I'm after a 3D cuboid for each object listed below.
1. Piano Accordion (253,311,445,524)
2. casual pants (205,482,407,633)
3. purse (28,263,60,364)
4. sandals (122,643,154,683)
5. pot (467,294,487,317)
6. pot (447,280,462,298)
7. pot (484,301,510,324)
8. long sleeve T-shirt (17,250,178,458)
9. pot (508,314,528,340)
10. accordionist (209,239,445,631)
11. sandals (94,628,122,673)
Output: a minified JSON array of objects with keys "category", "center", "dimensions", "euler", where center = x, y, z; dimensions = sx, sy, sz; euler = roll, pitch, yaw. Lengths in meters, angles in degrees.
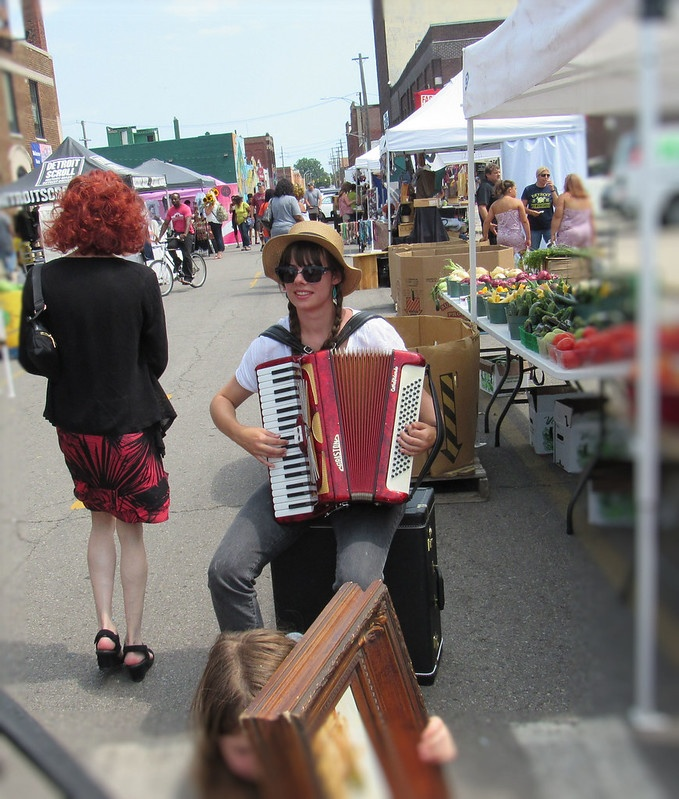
[{"category":"Piano Accordion","center":[0.021,0.130,2.403],"dimensions":[0.612,0.586,0.196],"euler":[-4,-7,9]},{"category":"casual pants","center":[-0.091,0.371,2.529],"dimensions":[0.490,0.599,0.728],"euler":[10,9,7]},{"category":"purse","center":[-1.047,-0.294,2.364],"dimensions":[0.086,0.413,0.287],"euler":[-1,-8,-15]},{"category":"sandals","center":[-0.847,1.091,2.814],"dimensions":[0.069,0.082,0.199],"euler":[0,6,-4]},{"category":"pot","center":[1.116,-0.730,5.398],"dimensions":[0.125,0.116,0.147],"euler":[0,5,1]},{"category":"pot","center":[1.105,-1.045,6.470],"dimensions":[0.125,0.123,0.152],"euler":[-1,8,0]},{"category":"pot","center":[1.169,-0.634,5.010],"dimensions":[0.125,0.124,0.159],"euler":[0,6,1]},{"category":"long sleeve T-shirt","center":[-0.904,-0.187,2.606],"dimensions":[0.441,0.664,0.281],"euler":[0,-7,-18]},{"category":"pot","center":[1.147,-0.463,4.437],"dimensions":[0.138,0.183,0.128],"euler":[0,5,0]},{"category":"accordionist","center":[-0.126,0.280,2.667],"dimensions":[0.821,1.891,0.788],"euler":[3,5,18]},{"category":"sandals","center":[-0.979,1.055,2.888],"dimensions":[0.079,0.104,0.229],"euler":[-1,-8,-4]}]
